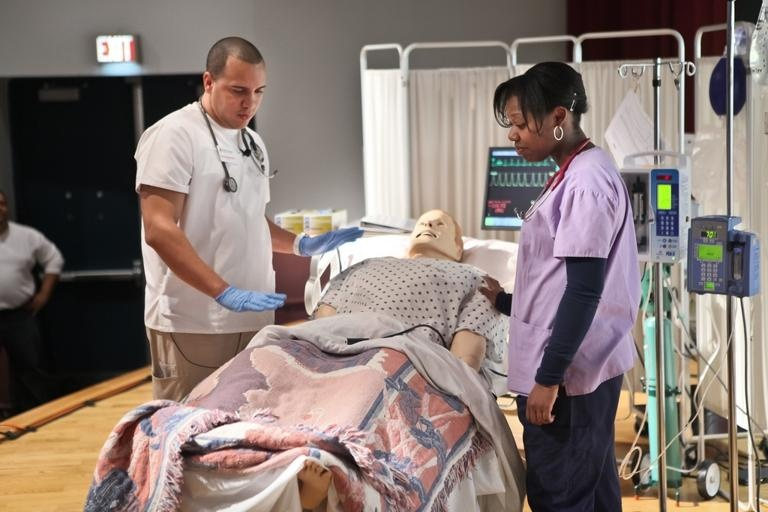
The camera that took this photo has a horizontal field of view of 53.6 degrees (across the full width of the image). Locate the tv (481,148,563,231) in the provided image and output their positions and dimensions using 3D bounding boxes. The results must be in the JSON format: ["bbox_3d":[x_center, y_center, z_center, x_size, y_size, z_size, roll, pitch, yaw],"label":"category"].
[{"bbox_3d":[0.761,-0.375,4.181,0.501,0.622,0.060,0,1,9],"label":"tv"}]

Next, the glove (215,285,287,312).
[{"bbox_3d":[-0.617,0.198,3.534,0.234,0.078,0.146,5,22,1],"label":"glove"}]

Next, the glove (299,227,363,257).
[{"bbox_3d":[-0.296,-0.080,4.353,0.404,0.143,0.112,-15,-3,-33],"label":"glove"}]

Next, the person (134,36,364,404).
[{"bbox_3d":[-0.782,-0.184,3.718,0.805,1.706,0.609,-4,6,-21],"label":"person"}]
